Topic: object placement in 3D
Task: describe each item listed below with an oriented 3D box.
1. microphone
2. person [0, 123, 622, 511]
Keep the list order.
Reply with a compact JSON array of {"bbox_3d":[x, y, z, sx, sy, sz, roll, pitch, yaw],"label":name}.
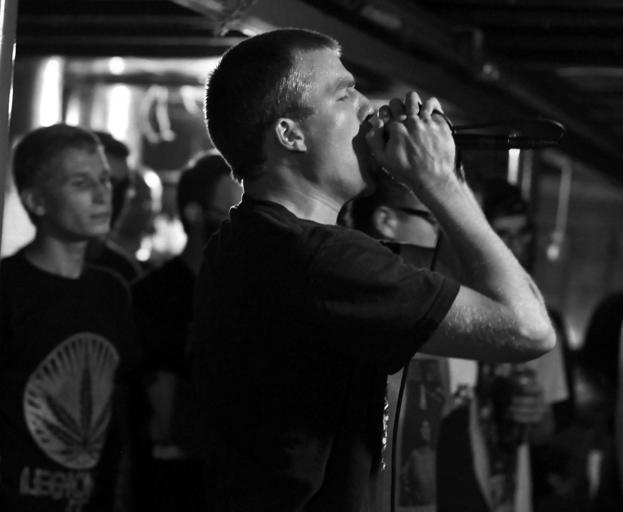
[{"bbox_3d":[0.468,-0.287,2.014,0.202,0.046,0.115,-3,0,-4],"label":"microphone"},{"bbox_3d":[-0.044,0.196,2.216,1.338,0.725,0.735,11,-13,-29],"label":"person"}]
